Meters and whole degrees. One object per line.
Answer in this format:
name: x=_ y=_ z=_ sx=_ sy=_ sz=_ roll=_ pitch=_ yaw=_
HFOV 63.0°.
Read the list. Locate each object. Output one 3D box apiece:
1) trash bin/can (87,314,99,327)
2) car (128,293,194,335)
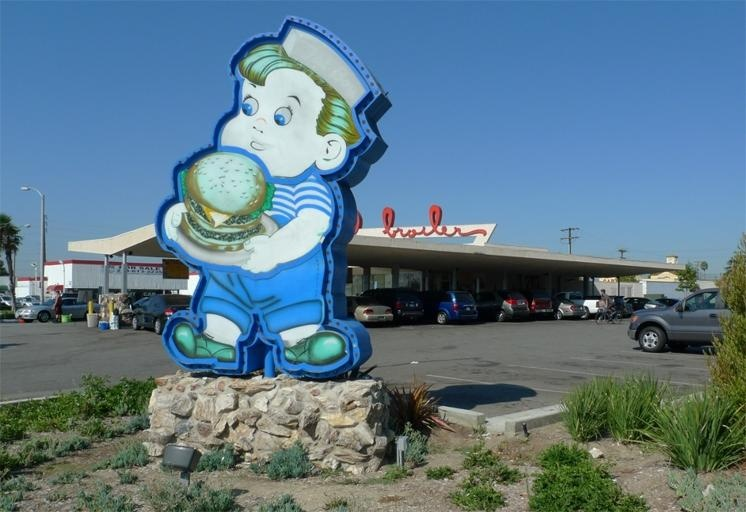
trash bin/can: x=-14.380 y=3.331 z=31.279 sx=0.667 sy=0.588 sz=0.657 roll=-3 pitch=-3 yaw=28
car: x=-9.533 y=2.582 z=28.028 sx=2.686 sy=1.940 sz=5.648 roll=3 pitch=-1 yaw=-33
